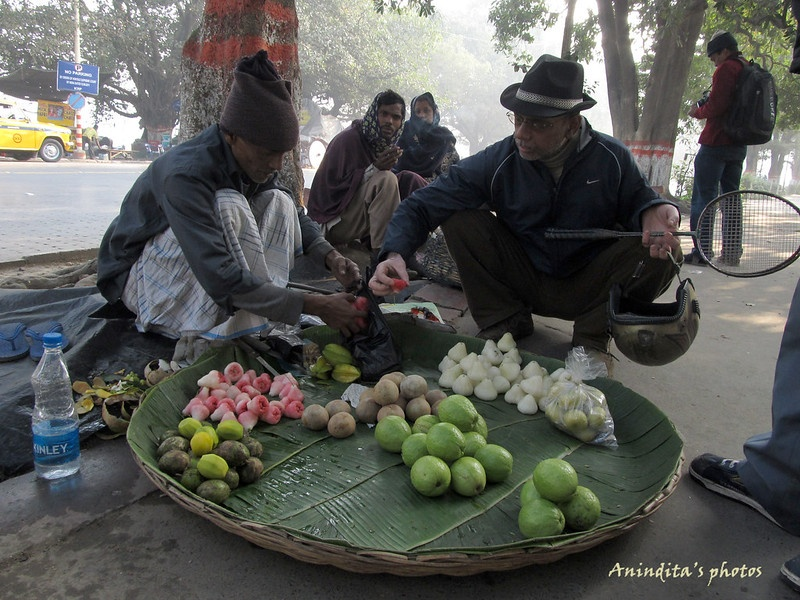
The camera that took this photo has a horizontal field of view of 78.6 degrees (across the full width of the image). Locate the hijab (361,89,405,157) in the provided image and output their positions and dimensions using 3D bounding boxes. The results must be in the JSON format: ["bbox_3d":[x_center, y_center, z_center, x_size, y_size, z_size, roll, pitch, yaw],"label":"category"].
[{"bbox_3d":[-0.225,-1.910,5.424,0.454,0.674,0.655,10,-1,-7],"label":"hijab"}]

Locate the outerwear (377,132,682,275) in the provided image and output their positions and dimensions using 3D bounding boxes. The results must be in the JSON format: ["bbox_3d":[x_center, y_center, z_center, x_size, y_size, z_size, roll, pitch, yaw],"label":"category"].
[{"bbox_3d":[0.843,-0.713,3.720,1.682,0.931,1.009,4,27,20],"label":"outerwear"}]

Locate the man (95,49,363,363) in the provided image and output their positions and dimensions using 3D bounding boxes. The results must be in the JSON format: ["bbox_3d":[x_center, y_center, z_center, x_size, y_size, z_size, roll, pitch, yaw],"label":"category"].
[{"bbox_3d":[-1.036,-0.541,3.189,1.696,1.752,1.201,12,18,16],"label":"man"}]

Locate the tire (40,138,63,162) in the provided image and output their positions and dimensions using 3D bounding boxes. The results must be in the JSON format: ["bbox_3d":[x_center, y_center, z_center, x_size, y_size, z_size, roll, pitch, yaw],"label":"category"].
[{"bbox_3d":[-13.839,-6.017,19.458,0.288,0.835,0.811,13,15,32],"label":"tire"}]

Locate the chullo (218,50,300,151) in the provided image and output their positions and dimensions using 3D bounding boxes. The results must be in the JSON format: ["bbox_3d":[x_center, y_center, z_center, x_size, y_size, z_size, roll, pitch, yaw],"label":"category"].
[{"bbox_3d":[-0.823,-1.199,2.900,0.554,0.544,0.392,22,22,37],"label":"chullo"}]

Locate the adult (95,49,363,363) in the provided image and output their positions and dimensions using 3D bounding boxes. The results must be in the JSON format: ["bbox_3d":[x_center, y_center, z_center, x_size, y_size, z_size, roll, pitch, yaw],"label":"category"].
[{"bbox_3d":[-1.055,-0.530,3.182,1.714,1.801,1.334,9,17,10],"label":"adult"}]

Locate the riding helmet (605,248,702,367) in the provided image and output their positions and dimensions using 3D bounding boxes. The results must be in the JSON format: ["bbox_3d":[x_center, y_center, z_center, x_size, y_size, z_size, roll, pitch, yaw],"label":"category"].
[{"bbox_3d":[1.498,0.029,2.891,0.487,0.480,0.587,1,33,39],"label":"riding helmet"}]

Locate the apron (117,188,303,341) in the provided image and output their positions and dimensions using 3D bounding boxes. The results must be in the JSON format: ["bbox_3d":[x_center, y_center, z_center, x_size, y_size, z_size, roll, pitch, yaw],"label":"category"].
[{"bbox_3d":[-1.190,-0.244,3.191,1.051,0.789,0.797,0,9,23],"label":"apron"}]

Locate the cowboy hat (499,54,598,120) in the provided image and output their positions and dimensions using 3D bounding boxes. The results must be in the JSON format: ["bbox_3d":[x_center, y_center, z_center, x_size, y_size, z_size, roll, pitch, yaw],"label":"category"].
[{"bbox_3d":[0.952,-1.389,3.098,0.523,0.277,0.648,13,39,18],"label":"cowboy hat"}]

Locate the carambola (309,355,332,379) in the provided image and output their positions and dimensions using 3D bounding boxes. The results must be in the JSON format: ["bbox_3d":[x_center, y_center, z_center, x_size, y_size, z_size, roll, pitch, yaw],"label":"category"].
[{"bbox_3d":[-0.487,0.415,3.054,0.086,0.075,0.160,-31,8,-2],"label":"carambola"}]

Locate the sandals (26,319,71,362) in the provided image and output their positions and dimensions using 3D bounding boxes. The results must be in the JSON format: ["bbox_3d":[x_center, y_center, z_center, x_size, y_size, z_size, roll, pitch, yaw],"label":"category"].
[{"bbox_3d":[-2.035,0.240,2.842,0.155,0.178,0.214,-9,-12,-22],"label":"sandals"}]

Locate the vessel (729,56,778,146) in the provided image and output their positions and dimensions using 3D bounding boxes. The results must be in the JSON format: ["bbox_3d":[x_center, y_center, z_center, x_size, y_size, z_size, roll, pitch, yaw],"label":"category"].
[{"bbox_3d":[4.421,-2.469,6.185,0.657,0.954,0.532,-9,17,-32],"label":"vessel"}]

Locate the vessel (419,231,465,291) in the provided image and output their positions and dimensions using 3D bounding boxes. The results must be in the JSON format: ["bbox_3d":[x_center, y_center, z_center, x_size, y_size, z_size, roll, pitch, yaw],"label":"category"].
[{"bbox_3d":[0.428,-0.405,4.971,0.231,0.575,0.416,-14,23,-36],"label":"vessel"}]

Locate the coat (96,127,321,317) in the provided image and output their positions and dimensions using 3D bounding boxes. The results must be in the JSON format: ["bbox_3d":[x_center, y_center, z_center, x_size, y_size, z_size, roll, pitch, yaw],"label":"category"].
[{"bbox_3d":[-1.150,-0.390,3.150,1.346,0.998,1.055,22,24,4],"label":"coat"}]

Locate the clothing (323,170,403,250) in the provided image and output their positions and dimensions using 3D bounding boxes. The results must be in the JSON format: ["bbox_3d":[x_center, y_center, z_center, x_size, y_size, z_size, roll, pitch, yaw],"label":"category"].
[{"bbox_3d":[-0.357,-0.810,5.083,0.339,0.954,0.582,-3,28,-46],"label":"clothing"}]
